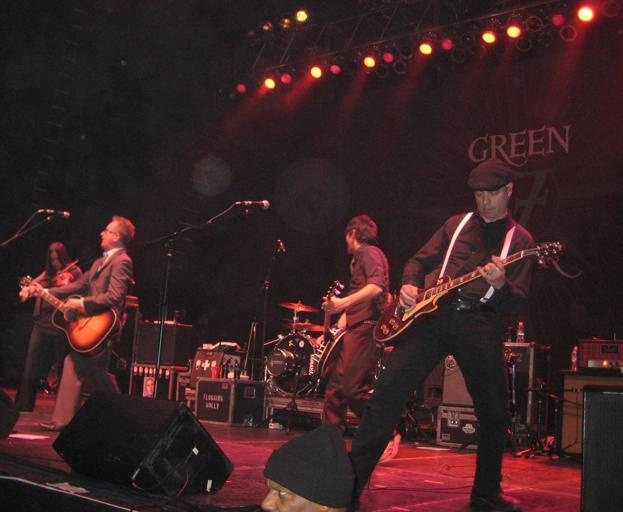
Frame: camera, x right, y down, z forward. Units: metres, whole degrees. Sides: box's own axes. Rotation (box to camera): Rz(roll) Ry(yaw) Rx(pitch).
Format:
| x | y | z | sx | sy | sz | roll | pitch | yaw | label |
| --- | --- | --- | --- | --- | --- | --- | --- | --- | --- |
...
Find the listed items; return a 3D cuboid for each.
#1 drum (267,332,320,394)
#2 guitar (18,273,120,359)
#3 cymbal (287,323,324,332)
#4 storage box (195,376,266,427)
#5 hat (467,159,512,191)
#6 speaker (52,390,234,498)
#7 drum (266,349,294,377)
| x | y | z | sx | sy | sz | roll | pitch | yaw | label |
| --- | --- | --- | --- | --- | --- | --- | --- | --- | --- |
| -0.198 | 1.323 | 7.447 | 0.460 | 0.727 | 0.882 | 24 | -24 | -39 | drum |
| -2.154 | 0.612 | 5.566 | 0.744 | 0.520 | 0.274 | 7 | -18 | 6 | guitar |
| -0.083 | 0.946 | 8.263 | 0.238 | 0.055 | 0.233 | 19 | -20 | -30 | cymbal |
| -1.161 | 1.897 | 8.002 | 0.900 | 0.541 | 0.591 | 7 | -18 | -18 | storage box |
| 1.090 | -0.494 | 3.784 | 0.186 | 0.118 | 0.245 | 3 | 7 | 34 | hat |
| -0.903 | 0.928 | 3.489 | 0.775 | 0.445 | 0.613 | 1 | 3 | 32 | speaker |
| -0.372 | 1.274 | 7.391 | 0.110 | 0.315 | 0.305 | 12 | -18 | -37 | drum |
